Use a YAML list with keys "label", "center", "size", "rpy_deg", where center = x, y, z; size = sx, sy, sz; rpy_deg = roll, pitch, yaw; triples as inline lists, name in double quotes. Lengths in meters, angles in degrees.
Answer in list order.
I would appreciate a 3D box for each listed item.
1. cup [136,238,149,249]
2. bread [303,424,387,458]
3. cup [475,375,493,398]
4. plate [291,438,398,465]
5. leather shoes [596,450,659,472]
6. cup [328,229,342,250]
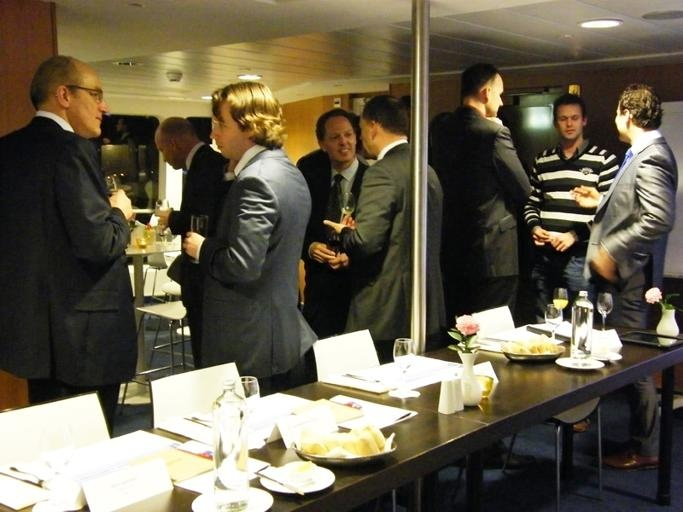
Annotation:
- label: "cup"
  center: [-1.791, -0.103, 5.175]
  size: [0.102, 0.074, 0.103]
  rpy_deg: [0, -2, 0]
- label: "bread"
  center: [0.009, 0.585, 1.770]
  size: [0.135, 0.040, 0.129]
  rpy_deg: [-2, -3, 20]
- label: "cup"
  center: [0.579, 0.530, 2.316]
  size: [0.084, 0.078, 0.088]
  rpy_deg: [2, -8, 0]
- label: "plate"
  center: [0.029, 0.619, 1.772]
  size: [0.329, 0.046, 0.120]
  rpy_deg: [0, 6, -10]
- label: "leather shoes"
  center: [1.875, 1.346, 3.740]
  size: [0.372, 0.141, 0.134]
  rpy_deg: [1, -6, 4]
- label: "cup"
  center: [-0.041, -0.098, 3.759]
  size: [0.093, 0.085, 0.118]
  rpy_deg: [-1, 0, 0]
